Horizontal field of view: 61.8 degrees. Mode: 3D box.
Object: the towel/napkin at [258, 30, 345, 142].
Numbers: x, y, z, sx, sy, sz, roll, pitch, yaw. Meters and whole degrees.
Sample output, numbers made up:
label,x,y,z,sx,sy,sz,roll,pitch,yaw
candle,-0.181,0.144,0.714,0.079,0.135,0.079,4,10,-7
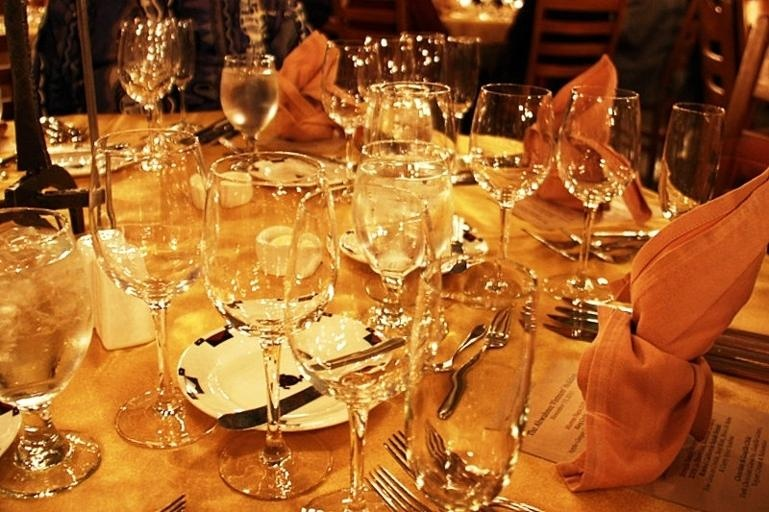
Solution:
label,x,y,z,sx,sy,sz,roll,pitch,yaw
towel/napkin,-0.241,-0.434,1.729,0.253,0.259,0.106,-20,11,-35
